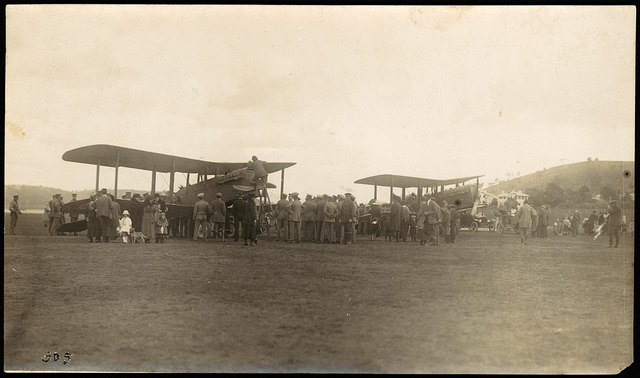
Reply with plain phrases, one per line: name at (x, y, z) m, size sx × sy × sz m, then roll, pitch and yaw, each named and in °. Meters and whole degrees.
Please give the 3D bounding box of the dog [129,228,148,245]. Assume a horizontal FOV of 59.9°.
dog at (-6.930, 1.728, 21.025) m, size 0.528 × 0.558 × 0.633 m, roll 5°, pitch 6°, yaw 34°

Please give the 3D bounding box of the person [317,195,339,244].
person at (0.338, 1.237, 22.812) m, size 0.806 × 1.929 × 0.929 m, roll 2°, pitch 5°, yaw 0°

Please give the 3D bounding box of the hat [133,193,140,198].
hat at (-7.638, 0.250, 23.141) m, size 0.240 × 0.214 × 0.423 m, roll -2°, pitch -3°, yaw -29°

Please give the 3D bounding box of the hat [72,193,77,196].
hat at (-10.357, 0.224, 23.414) m, size 0.192 × 0.120 × 0.172 m, roll 0°, pitch 6°, yaw -1°

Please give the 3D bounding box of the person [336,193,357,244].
person at (1.093, 1.177, 22.915) m, size 0.765 × 2.098 × 1.101 m, roll 2°, pitch 5°, yaw 2°

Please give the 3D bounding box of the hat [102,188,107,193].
hat at (-8.116, 0.035, 20.923) m, size 0.155 × 0.164 × 0.148 m, roll -1°, pitch 5°, yaw -29°

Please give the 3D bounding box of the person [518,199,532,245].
person at (8.614, 1.377, 23.541) m, size 0.525 × 1.920 × 0.829 m, roll 4°, pitch 5°, yaw 20°

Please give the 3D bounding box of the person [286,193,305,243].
person at (-1.051, 1.294, 22.630) m, size 0.685 × 1.736 × 0.918 m, roll 2°, pitch 5°, yaw 1°

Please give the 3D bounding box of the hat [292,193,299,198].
hat at (-1.054, 0.240, 23.103) m, size 0.207 × 0.168 × 0.345 m, roll 2°, pitch 4°, yaw -4°
